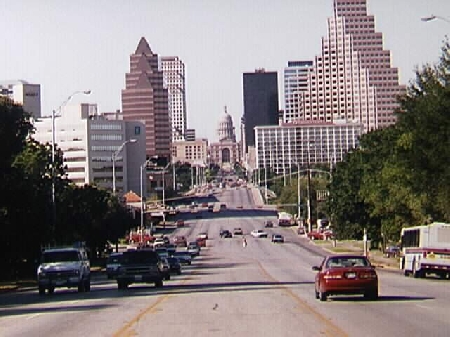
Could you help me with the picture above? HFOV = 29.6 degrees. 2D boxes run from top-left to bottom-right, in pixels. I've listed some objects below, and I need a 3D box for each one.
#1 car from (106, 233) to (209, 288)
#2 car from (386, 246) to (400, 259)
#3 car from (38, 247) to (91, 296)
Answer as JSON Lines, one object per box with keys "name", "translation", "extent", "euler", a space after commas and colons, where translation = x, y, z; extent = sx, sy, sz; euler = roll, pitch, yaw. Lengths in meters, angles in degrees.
{"name": "car", "translation": [-5.542, 6.688, 55.447], "extent": [2.827, 2.567, 1.380], "euler": [1, -2, -12]}
{"name": "car", "translation": [17.543, 8.833, 89.188], "extent": [1.182, 1.125, 2.272], "euler": [0, -2, 7]}
{"name": "car", "translation": [-10.472, 6.677, 55.473], "extent": [2.376, 3.577, 4.627], "euler": [1, -6, -9]}
